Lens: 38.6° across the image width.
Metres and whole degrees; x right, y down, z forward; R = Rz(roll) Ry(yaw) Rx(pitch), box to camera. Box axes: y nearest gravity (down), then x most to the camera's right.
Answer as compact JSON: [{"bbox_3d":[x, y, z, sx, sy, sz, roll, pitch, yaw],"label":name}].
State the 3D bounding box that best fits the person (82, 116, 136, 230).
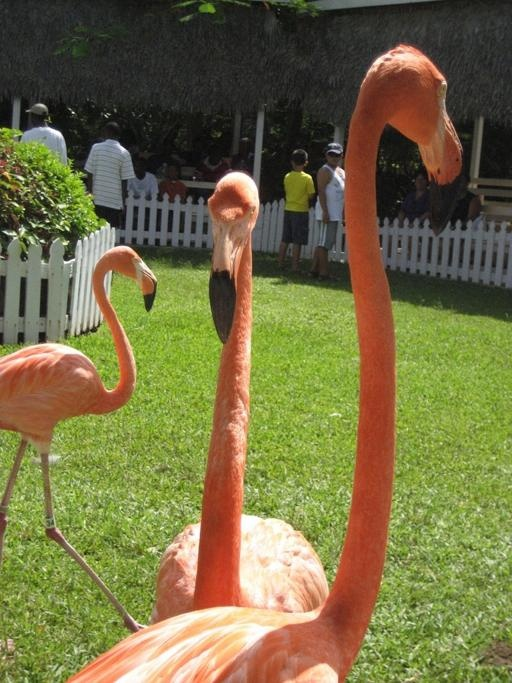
[{"bbox_3d":[-2.039,-2.109,10.055,0.590,1.781,0.489,4,-4,-11],"label":"person"}]
